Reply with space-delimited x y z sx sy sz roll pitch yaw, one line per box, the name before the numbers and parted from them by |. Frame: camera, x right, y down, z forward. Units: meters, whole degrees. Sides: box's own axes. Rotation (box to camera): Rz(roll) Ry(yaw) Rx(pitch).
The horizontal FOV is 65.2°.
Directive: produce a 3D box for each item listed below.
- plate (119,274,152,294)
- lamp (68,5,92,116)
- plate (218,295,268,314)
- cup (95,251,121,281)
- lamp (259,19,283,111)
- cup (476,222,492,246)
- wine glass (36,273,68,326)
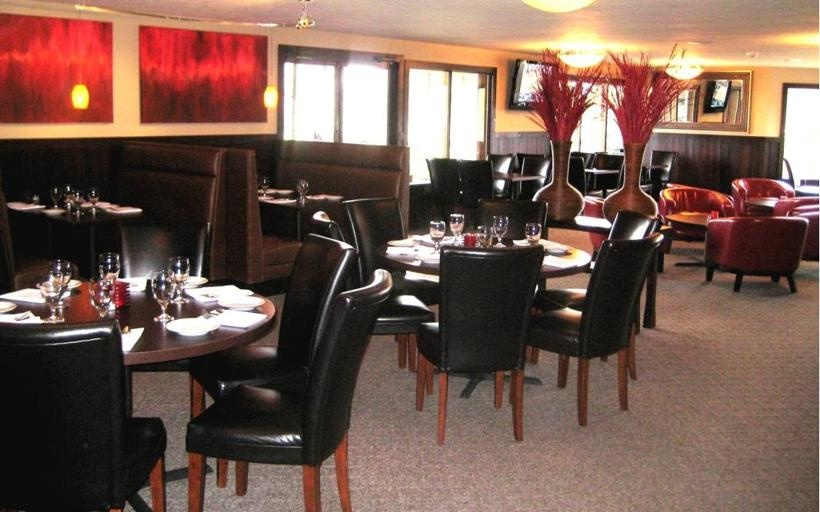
plate | -1.751 0.167 4.114 0.151 0.068 0.171 2 7 3
lamp | -3.548 -2.114 6.798 0.194 1.098 0.701 -6 14 -26
plate | -1.006 0.280 3.832 0.275 0.054 0.202 -2 11 -14
cup | -1.751 0.073 3.729 0.112 0.193 0.389 -5 13 -26
lamp | -1.821 -2.467 8.325 0.222 1.095 0.900 -2 13 -11
cup | 0.547 -0.151 4.820 0.156 0.151 0.139 -1 9 3
wine glass | -1.973 0.232 3.527 0.177 0.245 0.161 -5 -3 -17
